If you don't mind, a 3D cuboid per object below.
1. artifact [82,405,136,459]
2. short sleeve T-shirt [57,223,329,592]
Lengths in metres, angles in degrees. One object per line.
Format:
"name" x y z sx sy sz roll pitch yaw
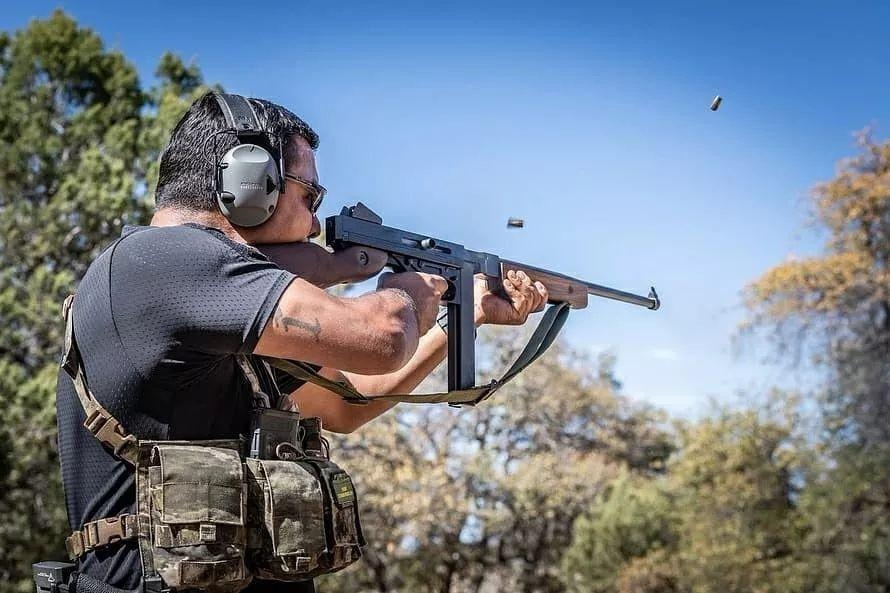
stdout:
"artifact" -2.339 0.952 9.013 0.421 0.243 0.152 45 10 2
"short sleeve T-shirt" -1.995 0.770 9.113 1.553 2.554 0.530 2 5 -11
